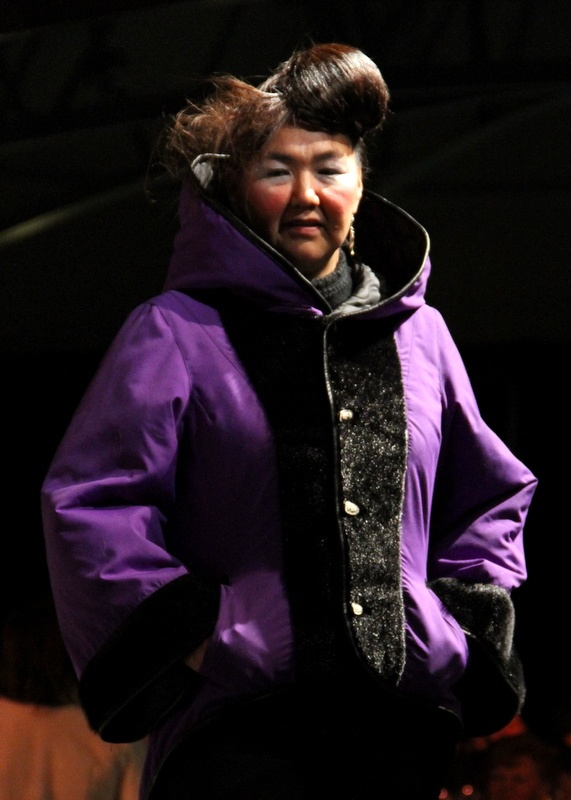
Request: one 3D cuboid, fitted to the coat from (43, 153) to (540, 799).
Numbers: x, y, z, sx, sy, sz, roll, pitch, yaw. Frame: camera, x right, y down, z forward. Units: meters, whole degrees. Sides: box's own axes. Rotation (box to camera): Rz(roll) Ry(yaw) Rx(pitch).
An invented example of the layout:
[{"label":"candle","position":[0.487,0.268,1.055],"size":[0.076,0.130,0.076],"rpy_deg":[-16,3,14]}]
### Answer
[{"label":"coat","position":[0.052,0.082,1.130],"size":[0.451,0.733,0.613],"rpy_deg":[5,17,31]}]
